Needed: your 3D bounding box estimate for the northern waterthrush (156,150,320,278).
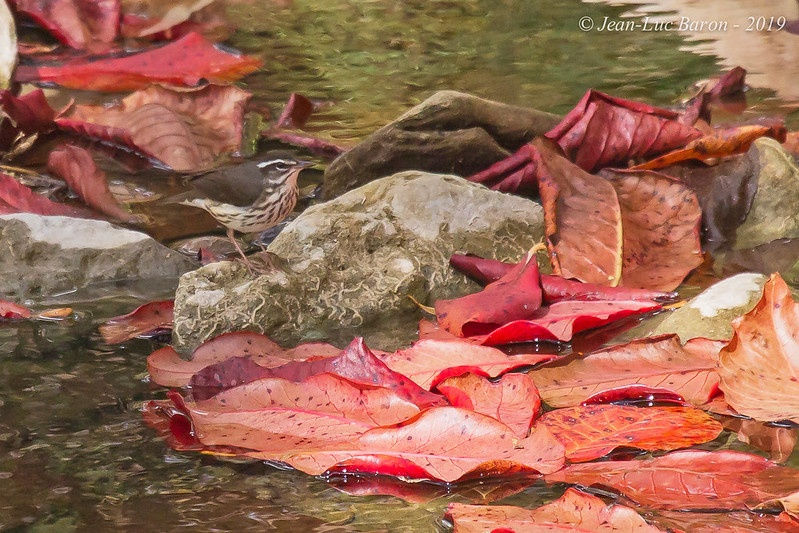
[{"bbox_3d":[-0.693,-0.344,5.292,0.581,0.311,0.296,-7,41,-4],"label":"northern waterthrush"}]
